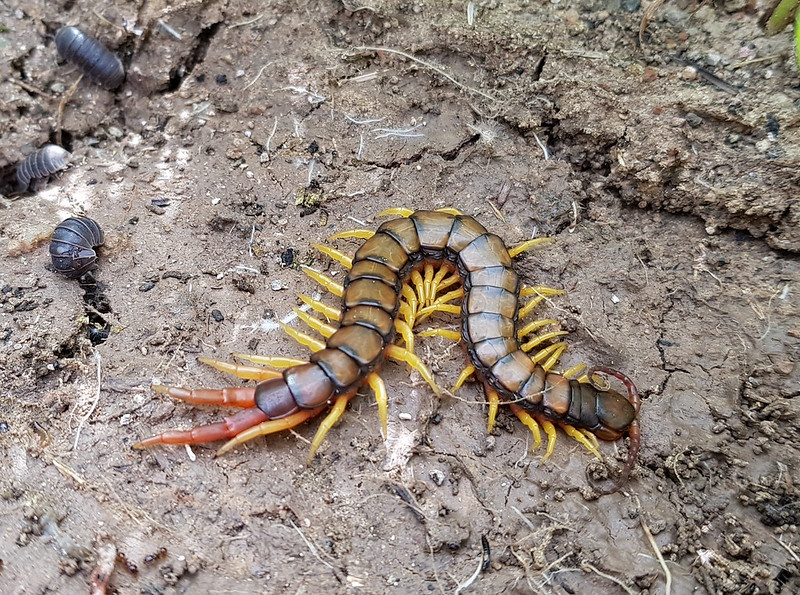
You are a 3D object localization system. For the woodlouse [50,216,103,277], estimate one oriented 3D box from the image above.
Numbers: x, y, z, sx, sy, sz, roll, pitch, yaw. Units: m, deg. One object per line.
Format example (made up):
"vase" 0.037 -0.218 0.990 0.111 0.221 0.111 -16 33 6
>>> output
"woodlouse" -2.816 -0.427 6.859 0.350 0.331 0.539 13 81 5

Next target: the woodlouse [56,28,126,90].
"woodlouse" -2.932 -2.281 7.447 0.647 0.366 0.350 37 84 8

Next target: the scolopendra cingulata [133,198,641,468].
"scolopendra cingulata" 0.141 0.351 6.844 3.396 0.529 2.253 0 75 -1
